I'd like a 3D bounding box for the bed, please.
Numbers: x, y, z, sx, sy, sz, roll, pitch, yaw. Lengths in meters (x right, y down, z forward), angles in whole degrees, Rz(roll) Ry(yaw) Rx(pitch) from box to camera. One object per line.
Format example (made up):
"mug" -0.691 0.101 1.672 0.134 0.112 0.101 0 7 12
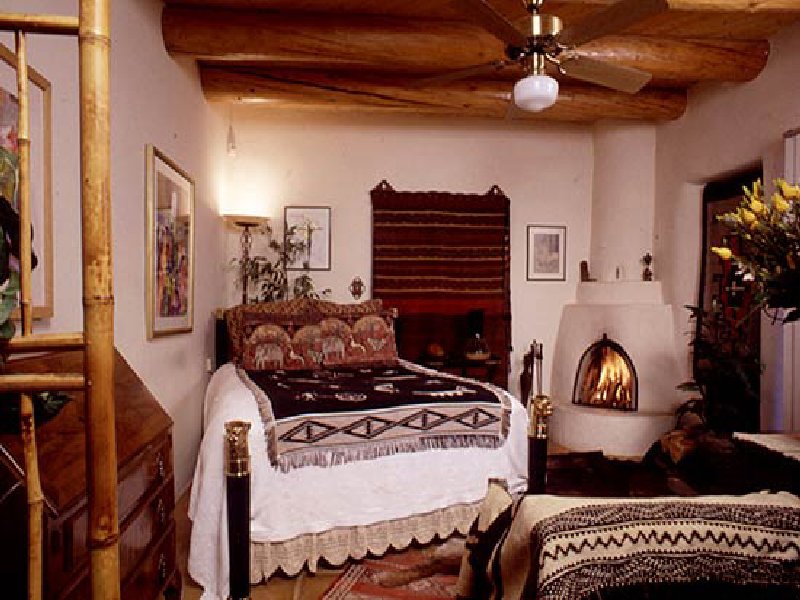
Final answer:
"bed" -0.431 0.798 4.889 1.476 1.211 2.048 -1 0 -18

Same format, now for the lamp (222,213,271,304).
"lamp" -1.386 -0.356 6.182 0.400 0.801 0.514 -1 5 -12

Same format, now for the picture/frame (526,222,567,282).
"picture/frame" 1.416 -0.455 6.753 0.507 0.749 0.032 0 -2 -7

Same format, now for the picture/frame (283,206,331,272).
"picture/frame" -0.895 -0.581 6.456 0.548 0.800 0.034 0 -2 -13

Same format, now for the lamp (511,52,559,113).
"lamp" 0.737 -1.166 3.711 0.211 0.303 0.365 2 5 14
